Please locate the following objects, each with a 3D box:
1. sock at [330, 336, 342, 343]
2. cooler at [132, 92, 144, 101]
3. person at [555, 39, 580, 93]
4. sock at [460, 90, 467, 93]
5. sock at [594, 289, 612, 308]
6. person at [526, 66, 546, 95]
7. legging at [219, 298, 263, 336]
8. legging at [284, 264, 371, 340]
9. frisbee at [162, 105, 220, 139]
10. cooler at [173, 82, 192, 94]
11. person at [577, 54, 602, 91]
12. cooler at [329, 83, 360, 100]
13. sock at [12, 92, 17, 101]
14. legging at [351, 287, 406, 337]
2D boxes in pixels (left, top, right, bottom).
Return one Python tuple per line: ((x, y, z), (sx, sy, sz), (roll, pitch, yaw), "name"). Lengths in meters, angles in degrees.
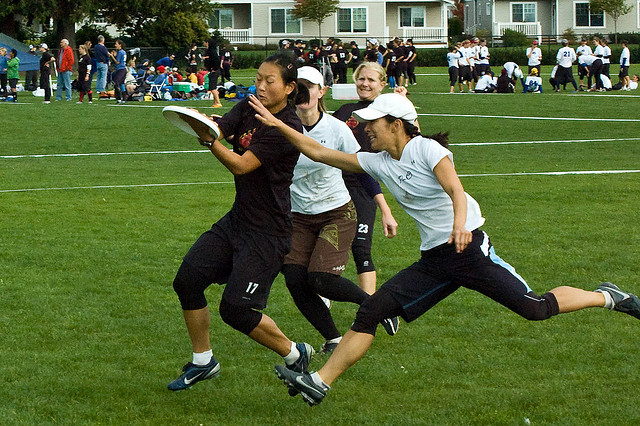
((0.175, 1.266, 7.159), (0.099, 0.036, 0.078), (-28, -4, 26), "sock")
((-6.562, -4.279, 25.888), (0.483, 0.274, 0.134), (-7, 13, -41), "cooler")
((10.267, -6.146, 29.624), (1.060, 2.169, 0.820), (3, 3, 16), "person")
((5.811, -4.983, 28.989), (0.097, 0.114, 0.273), (-4, -5, -20), "sock")
((2.705, 0.817, 6.808), (0.162, 0.171, 0.117), (5, 10, 23), "sock")
((8.747, -5.434, 28.773), (0.792, 1.097, 1.351), (4, 10, 15), "person")
((-0.706, 0.922, 6.343), (0.439, 0.391, 0.210), (1, 0, 9), "legging")
((0.069, 0.897, 7.150), (0.514, 0.742, 1.375), (-3, -1, -23), "legging")
((-1.093, -0.789, 6.151), (0.509, 0.272, 0.354), (2, 10, 7), "frisbee")
((-5.105, -4.733, 26.510), (0.432, 0.364, 0.594), (1, 2, -7), "cooler")
((11.317, -5.903, 29.663), (0.788, 1.504, 1.236), (1, 10, -1), "person")
((0.849, -4.030, 23.388), (0.778, 0.540, 0.930), (2, 10, 2), "cooler")
((-10.547, -4.069, 24.672), (0.093, 0.280, 0.166), (-1, 10, -13), "sock")
((0.514, 0.862, 6.321), (0.475, 0.388, 0.183), (-4, 11, -27), "legging")
